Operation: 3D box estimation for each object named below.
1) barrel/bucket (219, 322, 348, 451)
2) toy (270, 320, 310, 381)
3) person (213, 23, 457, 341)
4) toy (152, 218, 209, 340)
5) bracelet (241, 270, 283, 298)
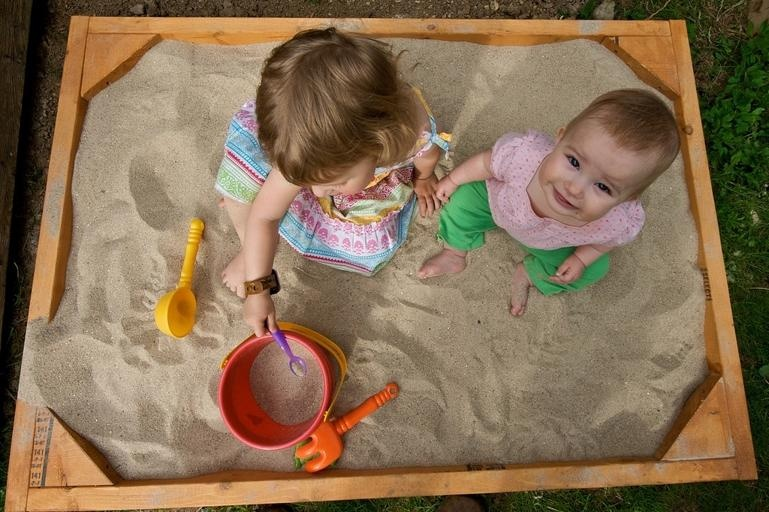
[{"bbox_3d":[-0.535,0.646,4.204,0.579,0.304,0.636,3,67,-8],"label":"barrel/bucket"},{"bbox_3d":[-0.469,0.497,4.203,0.093,0.053,0.377,-25,100,-4],"label":"toy"},{"bbox_3d":[-0.320,-0.428,4.117,1.178,1.201,0.948,-26,73,-18],"label":"person"},{"bbox_3d":[-1.050,0.102,4.405,0.222,0.171,0.621,15,87,-26],"label":"toy"},{"bbox_3d":[-0.590,0.146,4.131,0.147,0.081,0.121,-12,62,-2],"label":"bracelet"}]
